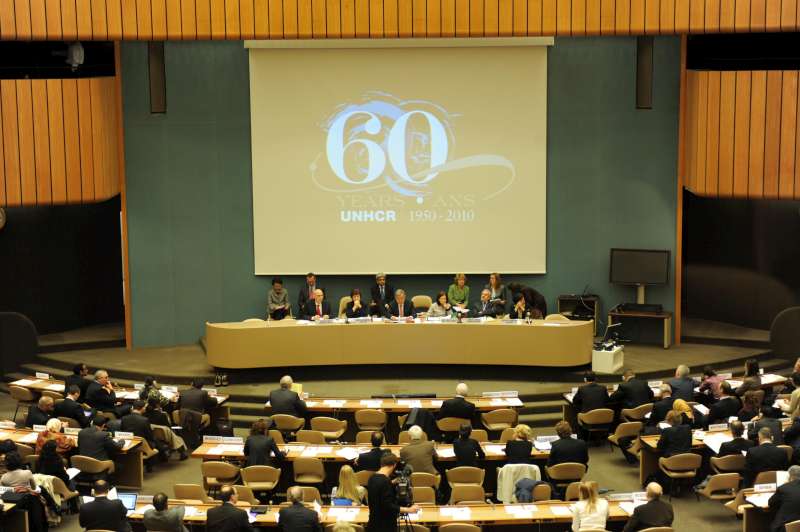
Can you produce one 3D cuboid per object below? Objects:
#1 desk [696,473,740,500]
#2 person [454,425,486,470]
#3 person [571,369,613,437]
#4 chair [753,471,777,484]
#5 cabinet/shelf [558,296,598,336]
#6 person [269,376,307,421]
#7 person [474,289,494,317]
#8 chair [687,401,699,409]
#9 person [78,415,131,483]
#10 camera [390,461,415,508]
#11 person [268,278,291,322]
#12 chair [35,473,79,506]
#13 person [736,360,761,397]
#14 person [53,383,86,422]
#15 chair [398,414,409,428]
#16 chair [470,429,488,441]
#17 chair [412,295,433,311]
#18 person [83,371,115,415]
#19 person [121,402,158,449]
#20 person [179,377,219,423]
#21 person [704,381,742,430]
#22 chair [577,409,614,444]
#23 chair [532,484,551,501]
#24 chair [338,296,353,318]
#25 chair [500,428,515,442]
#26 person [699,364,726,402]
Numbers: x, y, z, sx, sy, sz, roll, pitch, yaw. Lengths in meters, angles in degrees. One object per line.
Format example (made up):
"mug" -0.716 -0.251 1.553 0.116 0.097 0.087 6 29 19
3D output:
"desk" 5.660 3.918 16.365 0.549 0.455 0.568 -2 8 -1
"person" 1.240 3.200 16.365 0.575 0.775 0.326 0 4 -3
"person" 3.820 2.822 18.206 0.802 1.464 0.929 1 4 11
"chair" 6.268 3.636 15.699 0.215 0.184 0.232 -2 5 -8
"cabinet/shelf" 4.161 1.162 21.377 0.817 0.891 0.317 -1 0 6
"person" -2.161 2.577 17.789 0.715 0.811 0.405 0 4 -6
"person" 1.984 0.856 21.122 0.514 0.934 0.513 0 -1 18
"chair" 5.730 2.671 17.913 0.146 0.110 0.555 2 4 28
"person" -5.678 3.381 17.056 0.552 1.409 0.773 13 25 -9
"camera" 0.059 3.539 14.703 0.325 0.623 0.209 1 -16 3
"person" -2.911 0.820 21.944 0.489 1.028 0.543 0 10 -11
"chair" -6.084 3.932 16.279 0.491 0.639 0.815 14 -35 -32
"person" 6.946 2.232 18.241 0.447 0.661 1.333 2 4 22
"person" -6.374 2.672 17.759 0.356 0.916 0.301 10 21 5
"chair" 0.057 3.018 17.666 0.185 0.236 0.253 -1 -12 6
"chair" 1.475 3.145 17.059 0.196 0.325 0.251 0 -4 -4
"chair" 0.536 0.891 22.089 0.331 0.424 0.460 -2 9 3
"person" -5.924 2.698 18.312 0.581 1.194 0.467 -1 7 -34
"person" -4.944 3.132 17.600 0.612 1.000 0.817 0 -22 -34
"person" -4.007 2.693 18.293 0.810 0.908 0.709 -3 5 -40
"person" 6.140 2.706 17.471 0.461 1.028 0.531 -7 32 3
"chair" 3.836 3.135 18.035 0.500 0.742 0.572 -2 22 -3
"chair" 2.409 3.870 15.714 0.250 0.361 0.276 1 4 -1
"chair" -1.355 1.005 21.984 0.380 0.614 0.410 1 3 -3
"chair" 1.980 3.141 16.974 0.208 0.320 0.243 1 11 -7
"person" 6.232 2.377 18.356 0.351 0.909 0.462 -7 20 11
